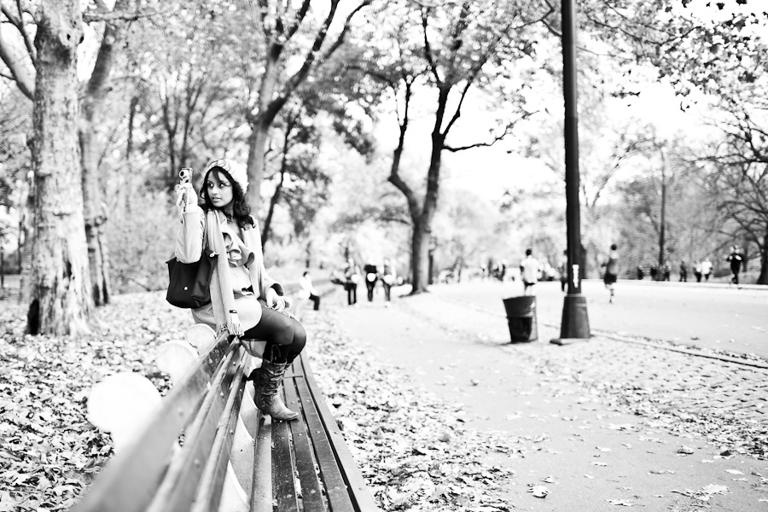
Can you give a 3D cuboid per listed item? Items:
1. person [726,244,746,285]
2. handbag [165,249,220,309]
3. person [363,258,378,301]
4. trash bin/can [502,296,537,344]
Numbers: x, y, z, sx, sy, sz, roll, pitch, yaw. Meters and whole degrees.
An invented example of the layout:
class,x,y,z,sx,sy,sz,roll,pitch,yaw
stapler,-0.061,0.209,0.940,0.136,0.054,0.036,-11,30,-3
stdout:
class,x,y,z,sx,sy,sz,roll,pitch,yaw
person,12.370,0.336,27.317,0.593,1.584,0.960,8,15,20
handbag,-3.097,0.375,12.736,0.798,1.207,0.480,5,2,2
person,-0.537,0.912,30.666,0.510,1.811,0.471,-2,-4,19
trash bin/can,3.593,1.683,20.110,0.785,1.257,0.846,-6,5,16
